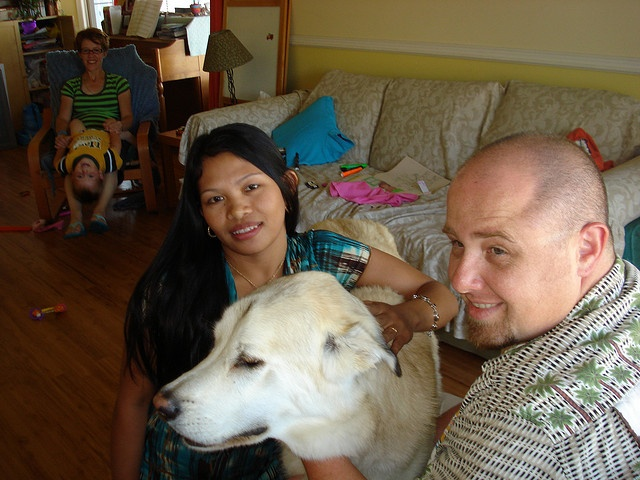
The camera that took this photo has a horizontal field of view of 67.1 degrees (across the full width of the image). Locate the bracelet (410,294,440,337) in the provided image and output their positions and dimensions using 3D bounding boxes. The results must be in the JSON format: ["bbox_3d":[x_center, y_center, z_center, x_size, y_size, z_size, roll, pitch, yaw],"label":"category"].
[{"bbox_3d":[0.337,0.231,1.515,0.032,0.108,0.083,-17,17,27],"label":"bracelet"}]

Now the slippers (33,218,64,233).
[{"bbox_3d":[-2.443,-0.121,4.339,0.220,0.085,0.130,2,-1,-29],"label":"slippers"}]

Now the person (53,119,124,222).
[{"bbox_3d":[-2.031,-0.717,4.278,0.551,0.447,1.034,0,64,-24],"label":"person"}]

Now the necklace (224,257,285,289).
[{"bbox_3d":[-0.212,0.104,1.538,0.150,0.099,0.021,-4,3,4],"label":"necklace"}]

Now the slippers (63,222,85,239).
[{"bbox_3d":[-2.106,-0.074,4.138,0.159,0.155,0.181,-10,31,-23],"label":"slippers"}]

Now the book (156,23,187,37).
[{"bbox_3d":[-1.891,-2.622,6.030,0.440,0.166,0.209,20,33,28],"label":"book"}]

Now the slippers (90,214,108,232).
[{"bbox_3d":[-1.903,-0.131,4.135,0.116,0.171,0.125,-23,38,-39],"label":"slippers"}]
